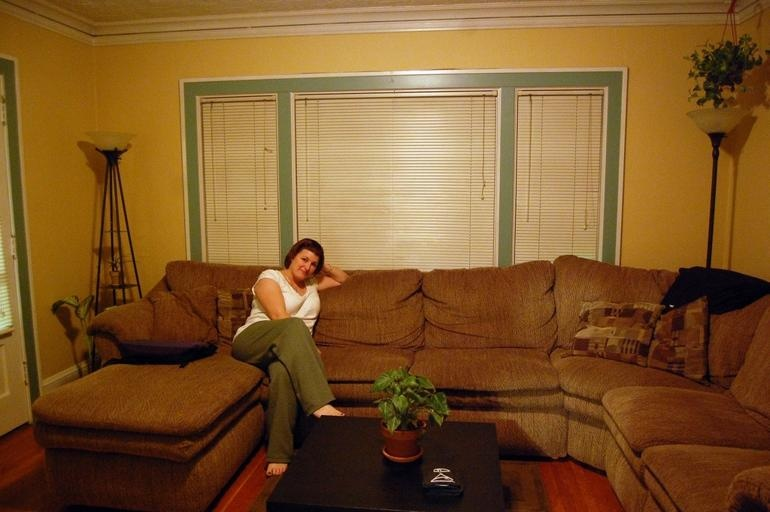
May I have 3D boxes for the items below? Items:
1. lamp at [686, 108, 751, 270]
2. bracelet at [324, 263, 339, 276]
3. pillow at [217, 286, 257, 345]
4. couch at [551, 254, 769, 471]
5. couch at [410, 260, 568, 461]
[{"bbox_3d":[2.692,-0.558,5.141,0.402,1.340,0.568,4,12,28],"label":"lamp"},{"bbox_3d":[-0.463,0.113,5.288,0.092,0.038,0.106,16,-5,14],"label":"bracelet"},{"bbox_3d":[-1.239,0.483,5.116,0.379,0.301,0.389,-1,16,-7],"label":"pillow"},{"bbox_3d":[2.100,0.736,4.966,1.526,1.291,1.450,2,2,25],"label":"couch"},{"bbox_3d":[0.893,0.762,5.226,1.498,1.417,1.339,0,-1,11],"label":"couch"}]
